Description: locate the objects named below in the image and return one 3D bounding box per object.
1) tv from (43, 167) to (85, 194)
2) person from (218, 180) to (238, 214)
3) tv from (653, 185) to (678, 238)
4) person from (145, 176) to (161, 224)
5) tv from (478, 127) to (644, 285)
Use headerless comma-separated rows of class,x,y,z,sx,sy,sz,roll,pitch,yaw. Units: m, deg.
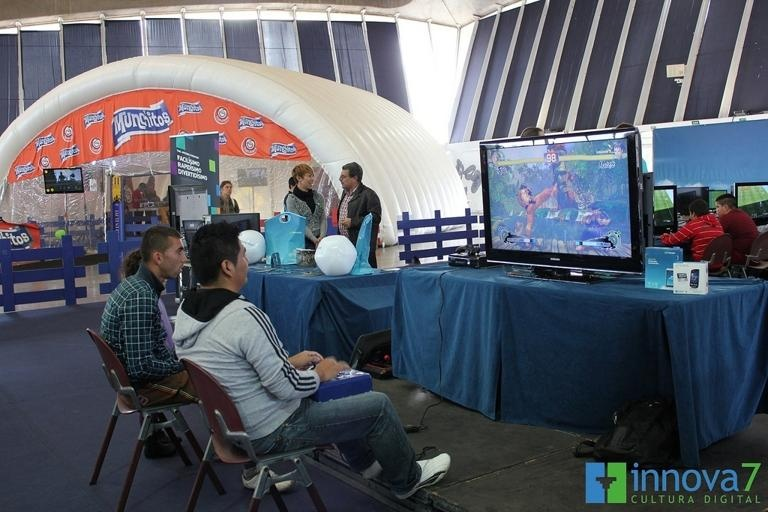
tv,-6.440,-1.515,11.401,0.603,0.452,0.060,-2,1,-28
person,-2.541,-0.969,9.218,0.261,0.532,1.625,-6,7,-14
tv,2.600,-0.412,5.262,0.405,0.534,0.048,-13,14,-33
person,-5.185,-1.334,12.774,0.430,0.951,0.269,-2,6,16
tv,1.150,-0.306,3.624,0.987,0.804,0.234,2,5,41
